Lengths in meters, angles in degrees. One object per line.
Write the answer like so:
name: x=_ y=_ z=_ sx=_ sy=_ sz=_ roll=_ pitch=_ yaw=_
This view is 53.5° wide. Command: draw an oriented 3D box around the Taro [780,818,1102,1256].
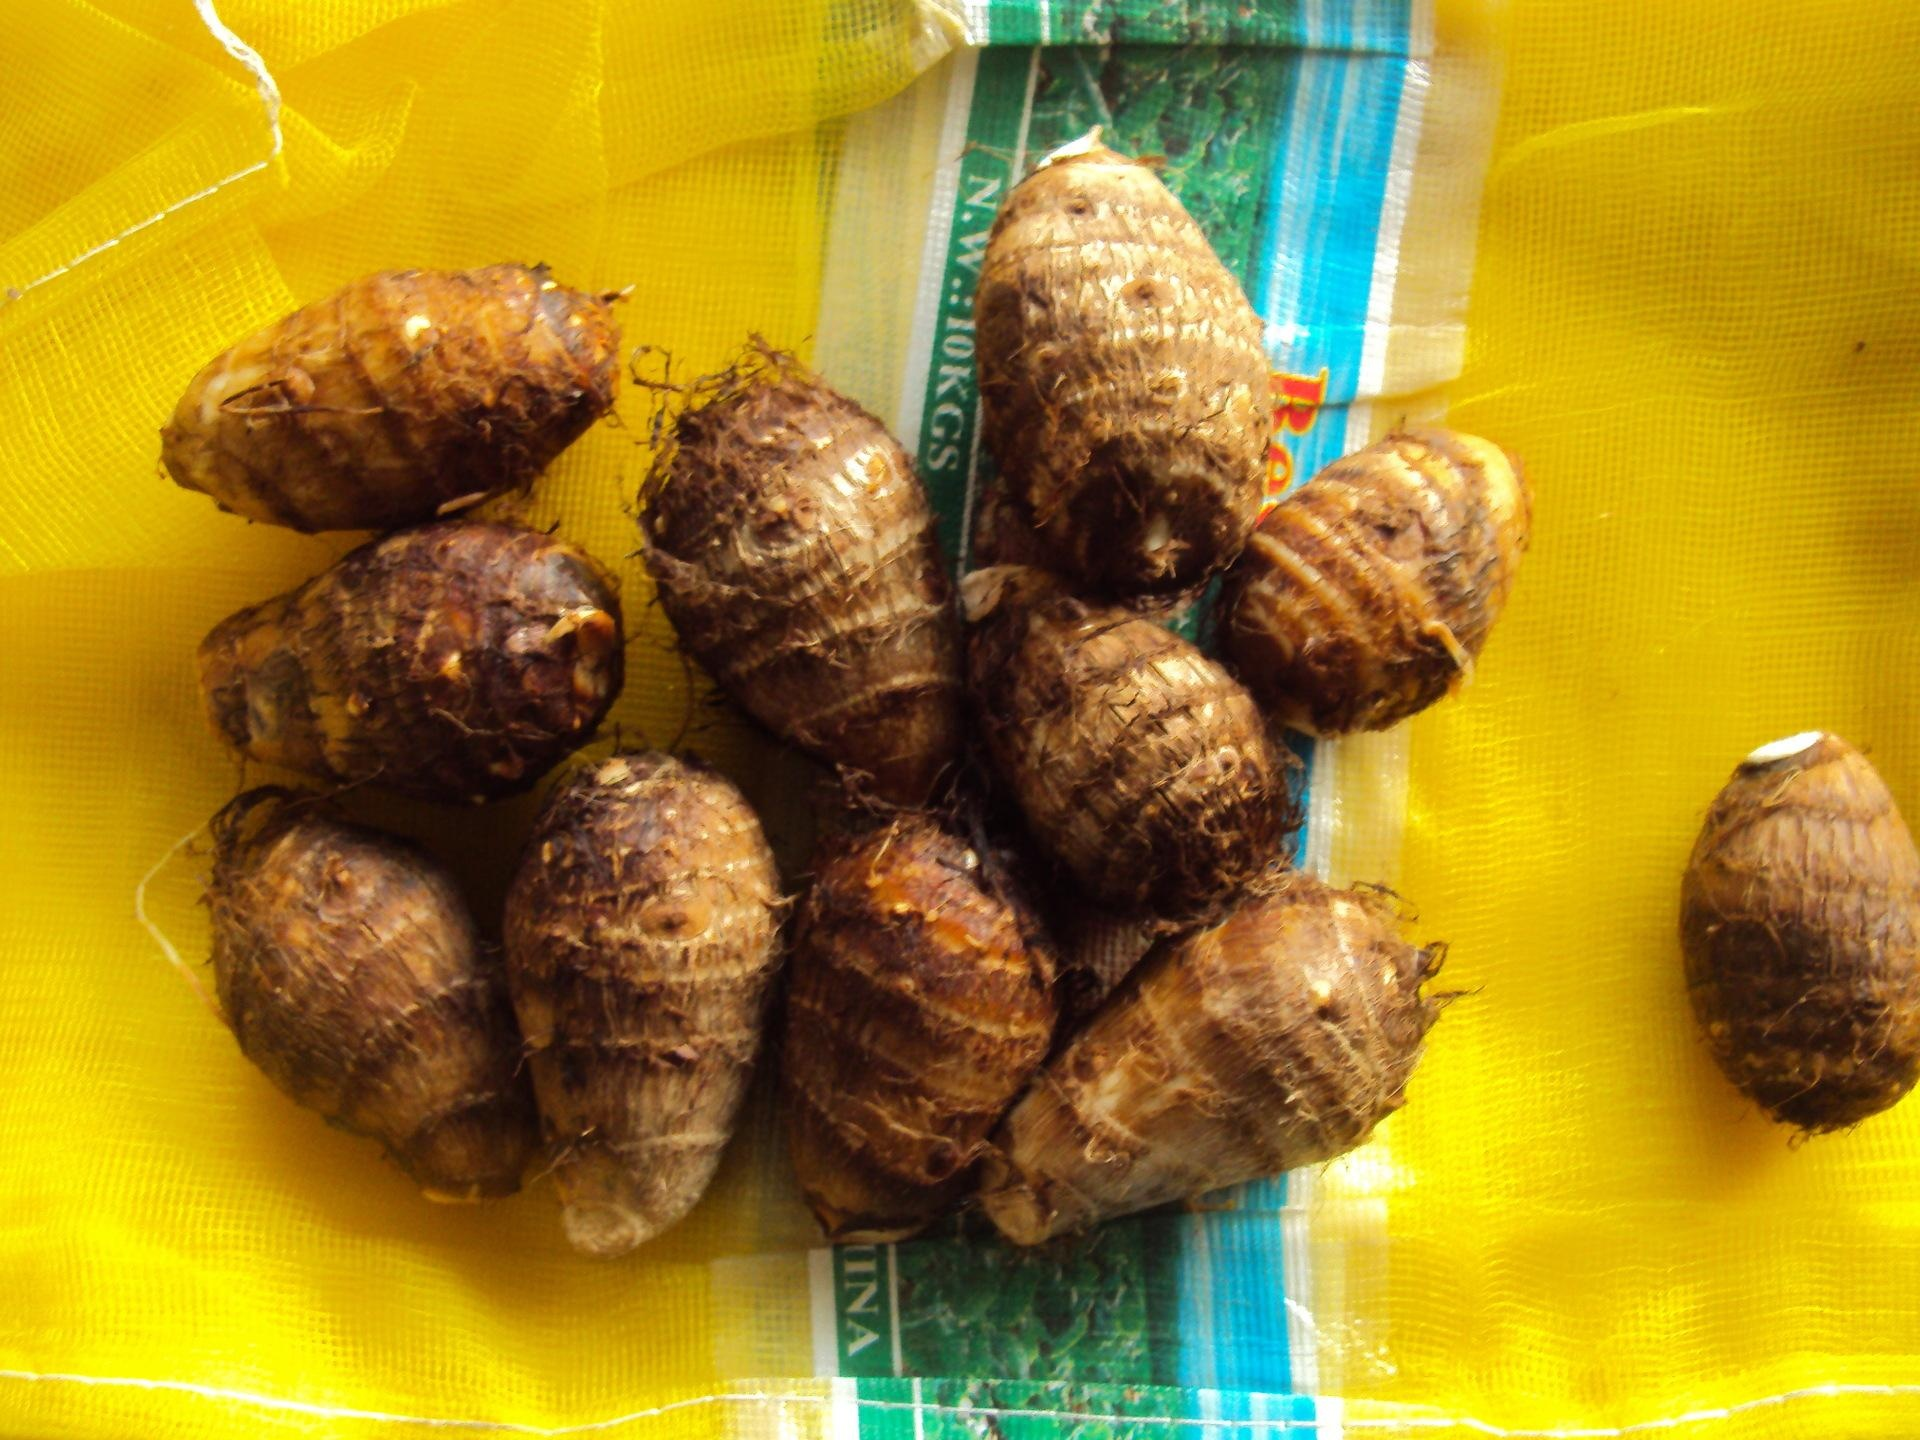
Taro: x=-0.027 y=0.227 z=1.514 sx=0.206 sy=0.302 sz=0.112 roll=17 pitch=13 yaw=12

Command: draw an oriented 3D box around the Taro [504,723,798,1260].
Taro: x=-0.237 y=0.216 z=1.497 sx=0.214 sy=0.332 sz=0.173 roll=-13 pitch=32 yaw=-16

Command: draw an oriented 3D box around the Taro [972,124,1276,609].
Taro: x=0.119 y=-0.287 z=1.584 sx=0.250 sy=0.237 sz=0.415 roll=-6 pitch=63 yaw=-10

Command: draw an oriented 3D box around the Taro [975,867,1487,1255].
Taro: x=0.207 y=0.288 z=1.568 sx=0.365 sy=0.226 sz=0.175 roll=-41 pitch=7 yaw=1

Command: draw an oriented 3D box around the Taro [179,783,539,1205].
Taro: x=-0.467 y=0.189 z=1.482 sx=0.195 sy=0.344 sz=0.122 roll=-27 pitch=6 yaw=-20

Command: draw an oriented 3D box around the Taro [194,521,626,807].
Taro: x=-0.435 y=-0.019 z=1.537 sx=0.283 sy=0.184 sz=0.193 roll=-13 pitch=65 yaw=2
